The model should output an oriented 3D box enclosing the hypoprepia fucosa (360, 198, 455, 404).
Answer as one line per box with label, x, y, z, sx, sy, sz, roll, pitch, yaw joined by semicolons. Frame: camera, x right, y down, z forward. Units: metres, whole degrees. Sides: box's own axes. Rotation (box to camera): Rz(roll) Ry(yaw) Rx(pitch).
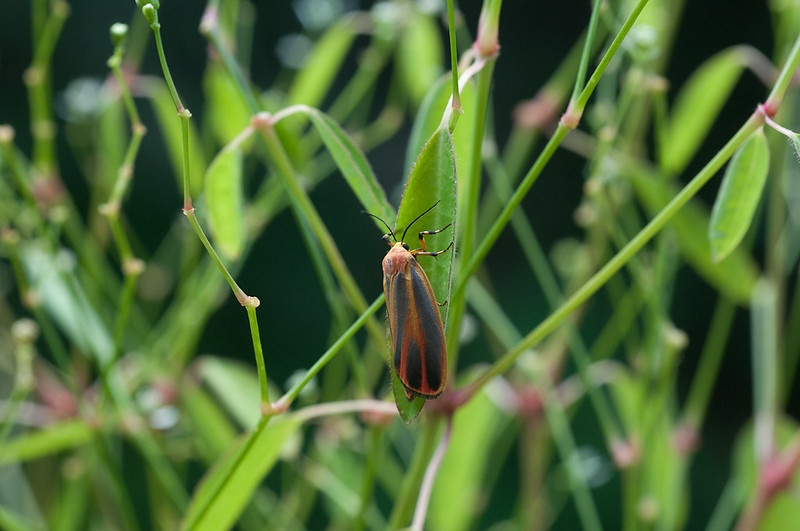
hypoprepia fucosa;0.009;0.039;0.877;0.094;0.194;0.046;-7;-9;44
